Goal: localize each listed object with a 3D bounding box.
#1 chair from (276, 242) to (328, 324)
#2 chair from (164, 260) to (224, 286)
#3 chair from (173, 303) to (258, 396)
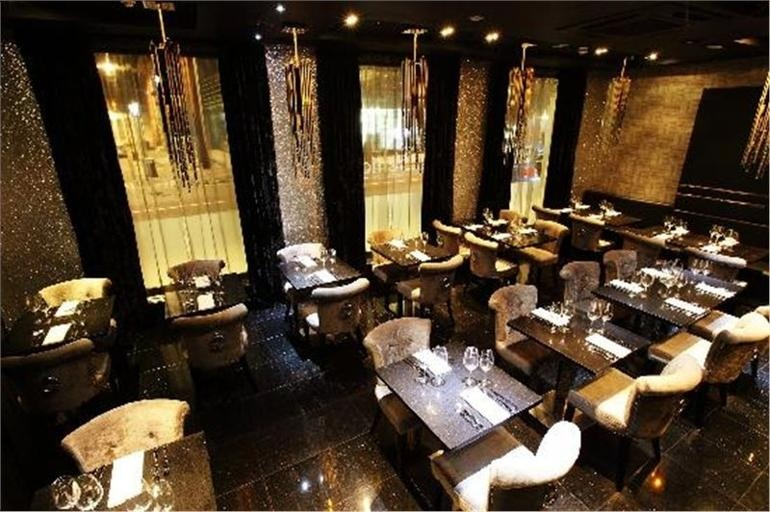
[{"bbox_3d":[-1.274,0.427,7.756,0.779,1.104,0.774,-19,40,-26],"label":"chair"},{"bbox_3d":[-2.873,0.240,7.580,0.663,0.245,0.435,-19,37,-37],"label":"chair"},{"bbox_3d":[-2.364,1.075,6.802,0.991,0.951,0.963,-1,19,0],"label":"chair"}]
